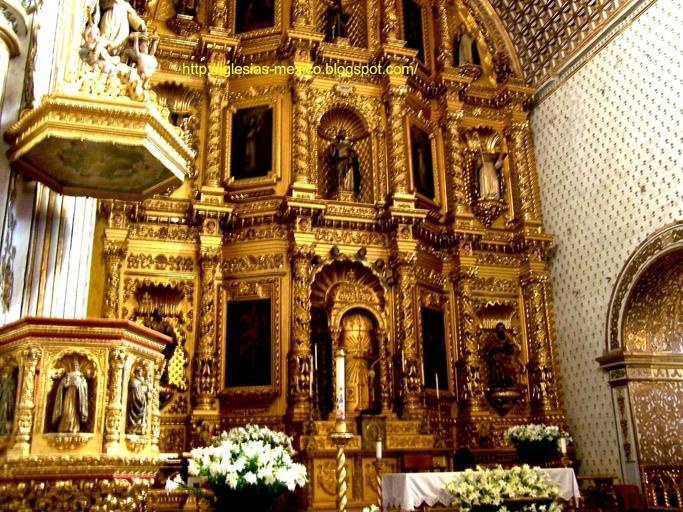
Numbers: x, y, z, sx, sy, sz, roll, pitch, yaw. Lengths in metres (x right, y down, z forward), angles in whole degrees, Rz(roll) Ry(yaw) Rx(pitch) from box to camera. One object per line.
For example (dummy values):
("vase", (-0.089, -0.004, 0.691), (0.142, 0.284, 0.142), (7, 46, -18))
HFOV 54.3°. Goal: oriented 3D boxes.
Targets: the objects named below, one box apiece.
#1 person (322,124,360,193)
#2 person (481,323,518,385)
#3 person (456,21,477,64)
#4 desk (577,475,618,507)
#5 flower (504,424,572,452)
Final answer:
("person", (0.041, -1.838, 13.307), (0.698, 1.468, 0.412), (0, -18, -1))
("person", (3.163, 1.975, 13.245), (0.689, 1.232, 0.266), (-4, -19, 9))
("person", (2.815, -4.883, 15.210), (0.371, 1.268, 0.308), (-1, -23, 9))
("desk", (4.345, 4.063, 11.321), (0.532, 0.545, 1.034), (-2, -20, 3))
("flower", (2.652, 2.517, 9.242), (0.713, 0.326, 0.359), (-6, -20, 13))
